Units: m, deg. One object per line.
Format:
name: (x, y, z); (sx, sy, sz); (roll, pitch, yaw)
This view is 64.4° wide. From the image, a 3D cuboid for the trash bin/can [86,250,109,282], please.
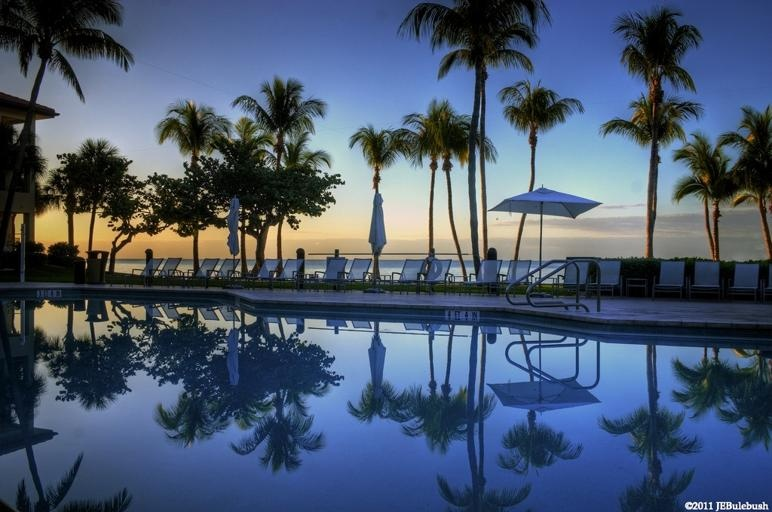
trash bin/can: (-13.426, 0.538, 28.313); (1.195, 1.872, 1.183); (4, -8, -30)
